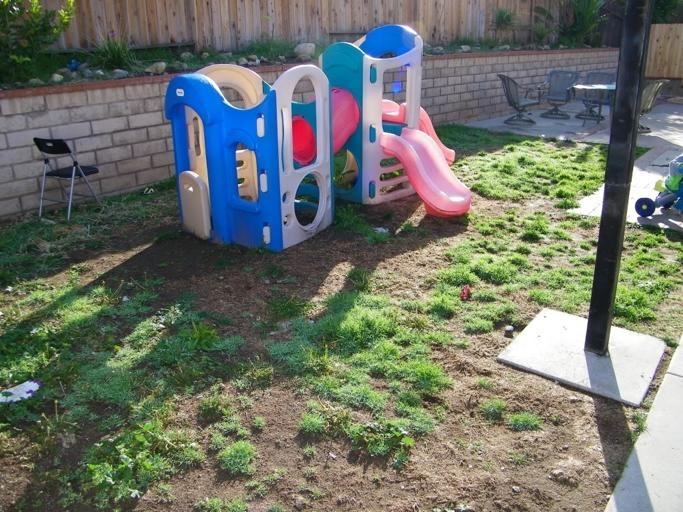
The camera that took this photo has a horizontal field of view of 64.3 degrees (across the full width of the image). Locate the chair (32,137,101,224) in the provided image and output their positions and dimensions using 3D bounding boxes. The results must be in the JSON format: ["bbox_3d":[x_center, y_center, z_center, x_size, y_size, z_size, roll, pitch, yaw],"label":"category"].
[{"bbox_3d":[-3.953,-1.056,7.705,0.597,1.244,0.832,14,30,13],"label":"chair"}]
